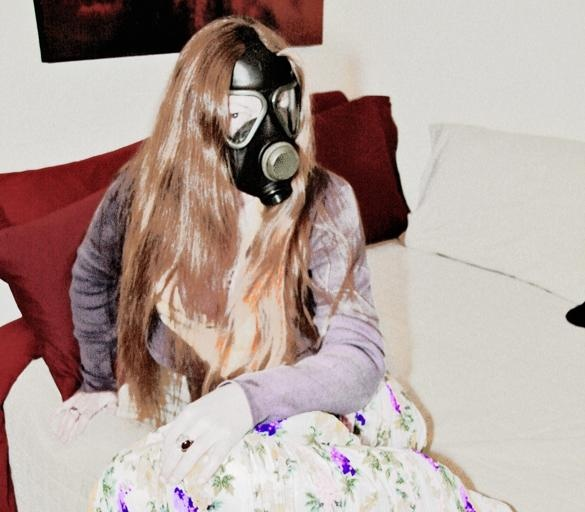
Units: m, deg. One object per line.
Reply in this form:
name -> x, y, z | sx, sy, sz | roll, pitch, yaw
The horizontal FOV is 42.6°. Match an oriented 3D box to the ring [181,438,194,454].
ring -> -0.163, 0.297, 1.159 | 0.018, 0.012, 0.017 | 2, 21, -1

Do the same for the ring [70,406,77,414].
ring -> -0.361, 0.262, 1.246 | 0.010, 0.013, 0.003 | -3, 8, -16

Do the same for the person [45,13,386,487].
person -> -0.155, 0.015, 1.310 | 0.466, 0.830, 0.561 | 5, 37, -12
